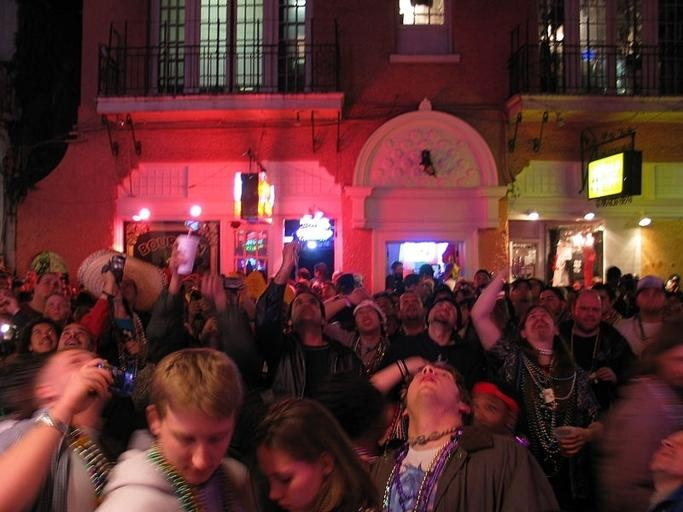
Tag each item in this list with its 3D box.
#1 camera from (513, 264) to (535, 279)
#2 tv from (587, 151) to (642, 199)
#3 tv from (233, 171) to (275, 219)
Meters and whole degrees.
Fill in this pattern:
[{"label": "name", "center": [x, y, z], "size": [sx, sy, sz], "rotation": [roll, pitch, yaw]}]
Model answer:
[{"label": "camera", "center": [3.314, 0.275, 12.668], "size": [0.475, 0.150, 0.373], "rotation": [-4, 11, -15]}, {"label": "tv", "center": [5.254, -1.554, 13.369], "size": [0.276, 0.693, 0.890], "rotation": [1, -2, -11]}, {"label": "tv", "center": [-1.748, -1.196, 13.582], "size": [0.602, 0.891, 1.122], "rotation": [2, 1, 4]}]
